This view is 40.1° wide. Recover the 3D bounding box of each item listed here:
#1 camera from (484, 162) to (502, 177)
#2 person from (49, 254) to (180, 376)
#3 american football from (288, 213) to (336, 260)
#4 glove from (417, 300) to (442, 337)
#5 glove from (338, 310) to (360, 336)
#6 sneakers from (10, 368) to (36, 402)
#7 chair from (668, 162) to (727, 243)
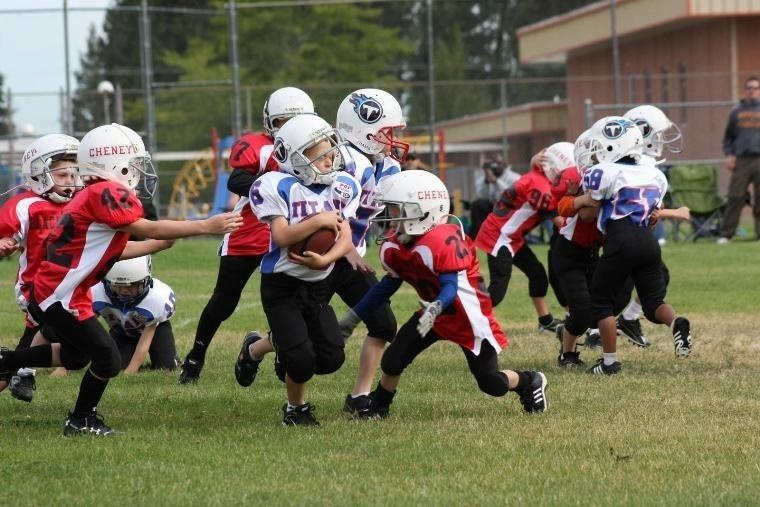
[{"bbox_3d":[1.827,-1.394,16.810,0.225,0.230,0.240,-3,18,-7],"label":"camera"},{"bbox_3d":[-2.176,0.374,9.233,0.826,1.210,1.214,4,25,2],"label":"person"},{"bbox_3d":[-0.524,-0.119,7.497,0.453,0.250,0.346,2,13,-39],"label":"american football"},{"bbox_3d":[0.328,0.443,7.340,0.162,0.251,0.100,34,-23,-9],"label":"glove"},{"bbox_3d":[-0.229,0.523,7.886,0.163,0.249,0.265,-1,11,-2],"label":"glove"},{"bbox_3d":[-2.776,1.019,8.113,0.238,0.244,0.227,10,-32,-18],"label":"sneakers"},{"bbox_3d":[5.589,-0.827,18.133,0.922,1.298,1.048,-4,-6,7],"label":"chair"}]
